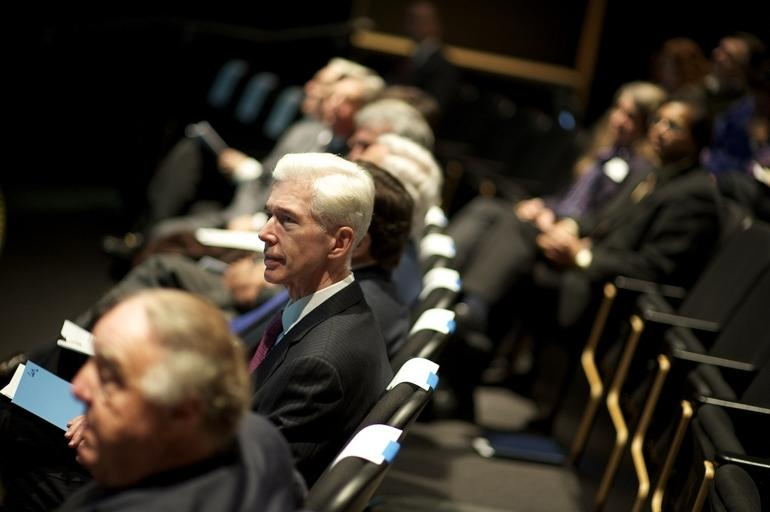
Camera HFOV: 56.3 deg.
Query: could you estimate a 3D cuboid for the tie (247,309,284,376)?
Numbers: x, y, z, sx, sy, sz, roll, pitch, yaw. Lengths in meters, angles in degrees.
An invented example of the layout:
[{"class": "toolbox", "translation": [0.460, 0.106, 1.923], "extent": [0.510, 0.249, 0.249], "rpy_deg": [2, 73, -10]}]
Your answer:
[{"class": "tie", "translation": [-0.442, 0.314, 2.668], "extent": [0.116, 0.190, 0.247], "rpy_deg": [7, 31, 7]}]
